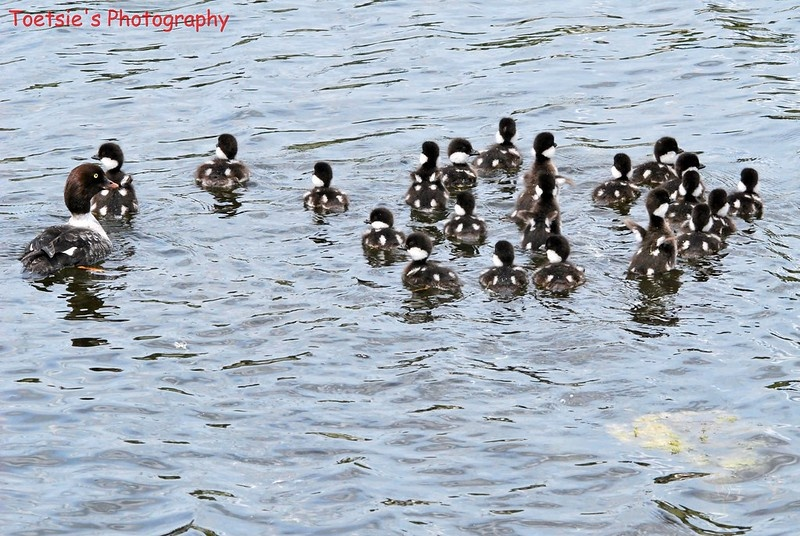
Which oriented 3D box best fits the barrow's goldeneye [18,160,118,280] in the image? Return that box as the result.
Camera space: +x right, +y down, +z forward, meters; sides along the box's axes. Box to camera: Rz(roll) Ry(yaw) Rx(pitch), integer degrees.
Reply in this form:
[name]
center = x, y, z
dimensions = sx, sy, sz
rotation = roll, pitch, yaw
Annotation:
[barrow's goldeneye]
center = -5.576, -0.777, 15.818
dimensions = 1.235, 1.451, 1.987
rotation = -2, 23, 4
